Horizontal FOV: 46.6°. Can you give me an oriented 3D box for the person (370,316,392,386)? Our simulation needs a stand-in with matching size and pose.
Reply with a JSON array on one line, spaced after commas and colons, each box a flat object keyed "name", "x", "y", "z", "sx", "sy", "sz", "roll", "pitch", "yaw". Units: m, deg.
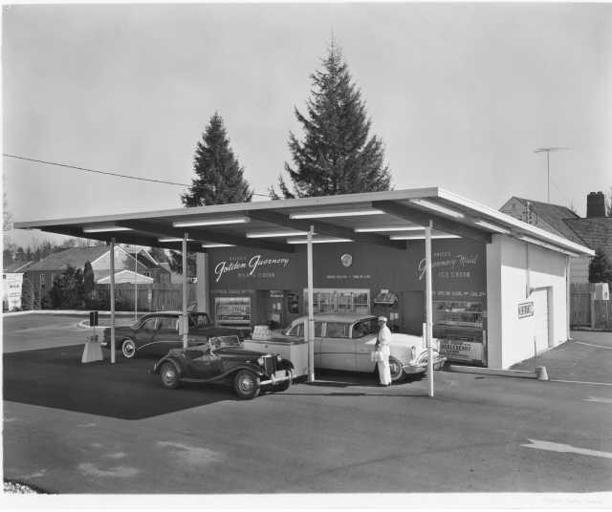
[{"name": "person", "x": 1.911, "y": 2.373, "z": 17.608, "sx": 0.429, "sy": 1.699, "sz": 0.804, "roll": 0, "pitch": 6, "yaw": 7}]

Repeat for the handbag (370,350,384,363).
[{"name": "handbag", "x": 1.712, "y": 2.469, "z": 17.457, "sx": 0.336, "sy": 0.401, "sz": 0.265, "roll": 2, "pitch": 4, "yaw": 31}]

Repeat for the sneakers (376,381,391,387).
[{"name": "sneakers", "x": 1.915, "y": 3.172, "z": 17.474, "sx": 0.321, "sy": 0.165, "sz": 0.118, "roll": -3, "pitch": 6, "yaw": 7}]
